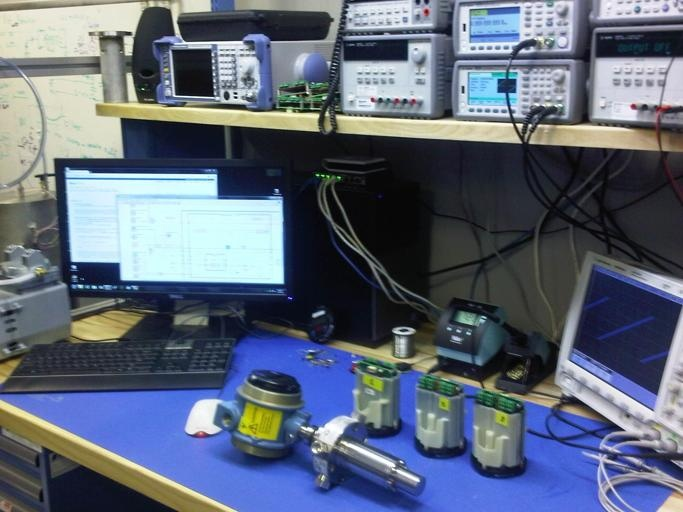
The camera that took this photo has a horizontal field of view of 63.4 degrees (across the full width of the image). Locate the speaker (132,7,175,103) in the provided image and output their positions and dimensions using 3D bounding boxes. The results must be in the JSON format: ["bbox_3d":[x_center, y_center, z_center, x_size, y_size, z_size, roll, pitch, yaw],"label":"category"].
[{"bbox_3d":[-0.654,-0.687,1.885,0.145,0.312,0.270,-2,20,-9],"label":"speaker"}]

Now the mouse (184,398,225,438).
[{"bbox_3d":[-0.315,0.359,1.283,0.078,0.046,0.132,9,22,-1],"label":"mouse"}]

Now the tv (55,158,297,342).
[{"bbox_3d":[-0.489,-0.031,1.656,0.591,0.393,0.176,1,8,6],"label":"tv"}]
